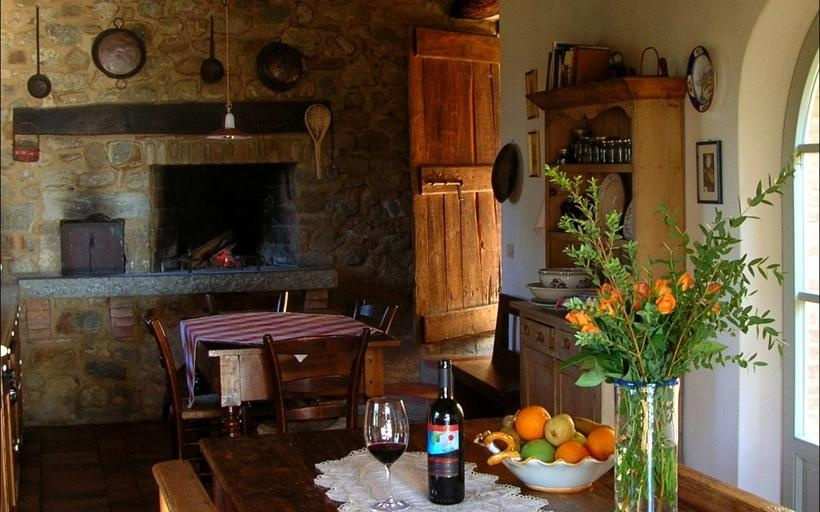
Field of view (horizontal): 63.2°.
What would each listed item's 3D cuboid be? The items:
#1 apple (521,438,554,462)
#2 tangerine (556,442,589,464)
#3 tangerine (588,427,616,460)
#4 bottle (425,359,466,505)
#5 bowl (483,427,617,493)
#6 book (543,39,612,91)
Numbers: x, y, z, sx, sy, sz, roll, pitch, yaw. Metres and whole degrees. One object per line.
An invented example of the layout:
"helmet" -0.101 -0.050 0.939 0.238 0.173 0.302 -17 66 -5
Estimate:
"apple" 0.399 0.617 2.102 0.085 0.061 0.062 12 7 0
"tangerine" 0.504 0.620 2.085 0.073 0.064 0.069 4 0 0
"tangerine" 0.610 0.605 2.141 0.106 0.097 0.105 0 -2 28
"bottle" 0.106 0.535 2.065 0.118 0.444 0.130 -2 8 0
"bowl" 0.426 0.680 2.122 0.288 0.081 0.261 -1 -1 -9
"book" 1.091 -1.242 4.391 0.377 0.356 0.125 9 19 3
